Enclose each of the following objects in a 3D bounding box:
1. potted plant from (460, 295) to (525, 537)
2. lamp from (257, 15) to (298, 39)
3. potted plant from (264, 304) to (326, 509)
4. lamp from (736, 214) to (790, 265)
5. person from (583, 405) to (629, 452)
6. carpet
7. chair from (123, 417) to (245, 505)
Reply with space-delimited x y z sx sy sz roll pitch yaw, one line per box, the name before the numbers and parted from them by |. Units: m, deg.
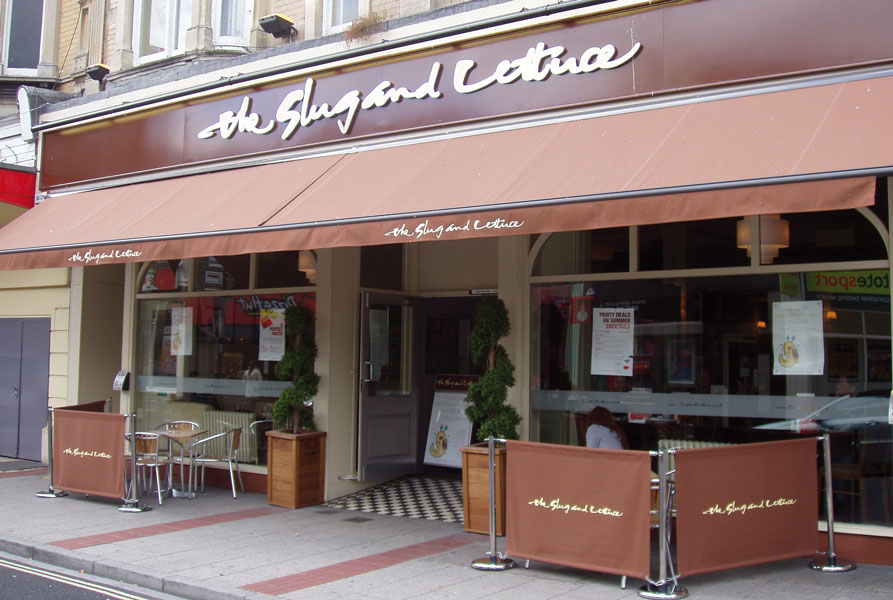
potted plant | 0.559 1.546 10.760 0.764 3.119 2.192 0 2 5
lamp | -2.697 -4.311 13.436 0.411 0.156 0.450 0 -8 30
potted plant | -2.272 1.612 12.595 0.871 2.984 0.599 -1 2 -23
lamp | 3.976 -0.765 10.497 0.590 0.630 0.608 2 -4 15
person | 2.012 1.650 10.457 0.482 0.541 0.901 0 2 11
carpet | -0.686 3.041 12.812 1.838 0.099 2.469 0 2 1
chair | -4.204 2.664 13.223 1.399 0.681 1.398 0 1 19
